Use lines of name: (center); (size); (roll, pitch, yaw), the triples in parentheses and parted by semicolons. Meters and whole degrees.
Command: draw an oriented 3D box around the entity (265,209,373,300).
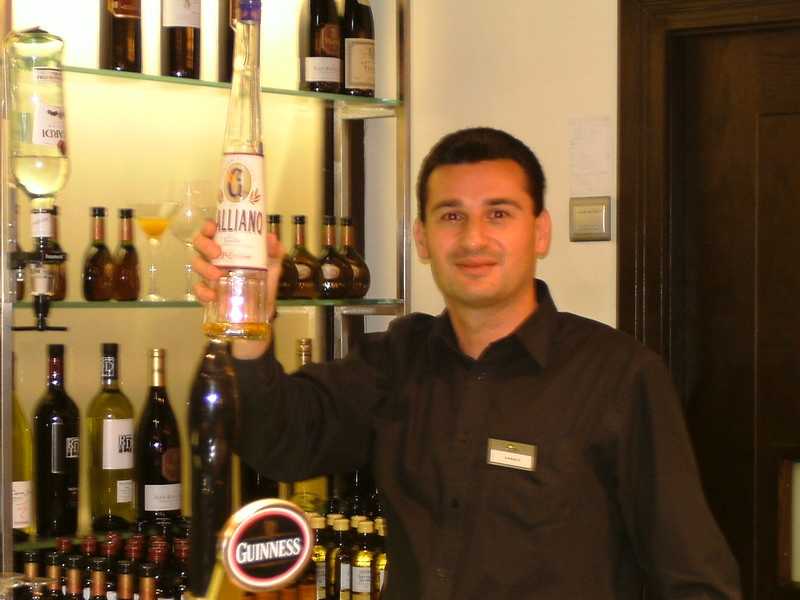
entity: (-0.213, -0.122, 2.358); (0.268, 0.249, 0.103); (-2, -1, -37)

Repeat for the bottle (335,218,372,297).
bottle: (-0.156, -0.122, 2.540); (0.125, 0.250, 0.126); (-2, 5, 0)

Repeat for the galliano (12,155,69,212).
galliano: (-0.813, -0.263, 1.916); (0.111, 0.134, 0.108); (-1, 3, -24)
